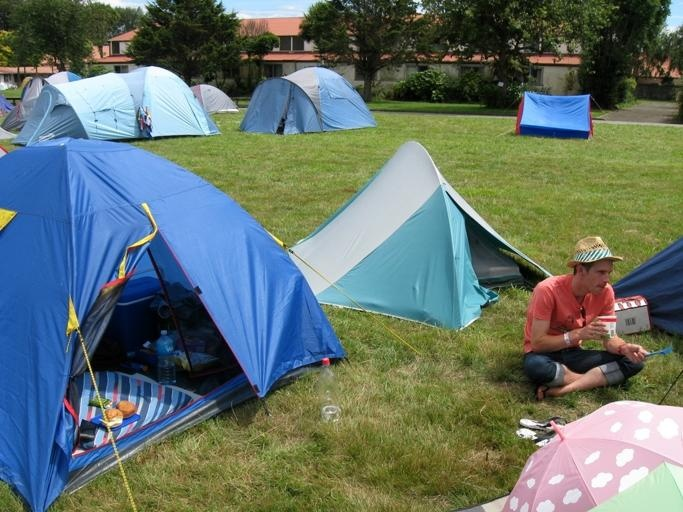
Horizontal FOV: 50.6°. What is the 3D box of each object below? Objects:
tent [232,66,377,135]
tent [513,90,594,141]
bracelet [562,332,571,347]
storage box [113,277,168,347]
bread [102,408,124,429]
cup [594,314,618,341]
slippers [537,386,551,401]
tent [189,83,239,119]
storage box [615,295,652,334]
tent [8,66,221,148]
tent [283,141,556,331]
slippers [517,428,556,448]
[{"bbox_3d":[-0.734,-4.400,20.877,1.981,1.367,2.859,7,12,37],"label":"tent"},{"bbox_3d":[5.787,-3.864,19.800,1.503,0.801,1.661,9,29,18],"label":"tent"},{"bbox_3d":[1.886,0.687,6.060,0.031,0.095,0.062,9,-10,-36],"label":"bracelet"},{"bbox_3d":[-1.965,0.519,6.940,0.398,0.570,0.525,-4,14,-27],"label":"storage box"},{"bbox_3d":[-1.815,1.291,5.757,0.123,0.110,0.136,-3,-1,17],"label":"bread"},{"bbox_3d":[2.202,0.594,6.050,0.185,0.223,0.192,-1,-1,0],"label":"cup"},{"bbox_3d":[1.699,1.161,6.117,0.075,0.120,0.049,5,-6,1],"label":"slippers"},{"bbox_3d":[-4.760,-6.010,27.386,1.630,0.855,1.718,-7,25,-23],"label":"tent"},{"bbox_3d":[2.877,0.672,7.168,0.356,0.305,0.216,-13,-30,25],"label":"storage box"},{"bbox_3d":[-5.448,-3.809,17.793,1.223,1.752,4.222,13,17,39],"label":"tent"},{"bbox_3d":[0.511,-0.163,7.828,2.091,1.131,2.189,16,29,35],"label":"tent"},{"bbox_3d":[1.513,1.413,5.692,0.213,0.075,0.140,5,16,34],"label":"slippers"}]
